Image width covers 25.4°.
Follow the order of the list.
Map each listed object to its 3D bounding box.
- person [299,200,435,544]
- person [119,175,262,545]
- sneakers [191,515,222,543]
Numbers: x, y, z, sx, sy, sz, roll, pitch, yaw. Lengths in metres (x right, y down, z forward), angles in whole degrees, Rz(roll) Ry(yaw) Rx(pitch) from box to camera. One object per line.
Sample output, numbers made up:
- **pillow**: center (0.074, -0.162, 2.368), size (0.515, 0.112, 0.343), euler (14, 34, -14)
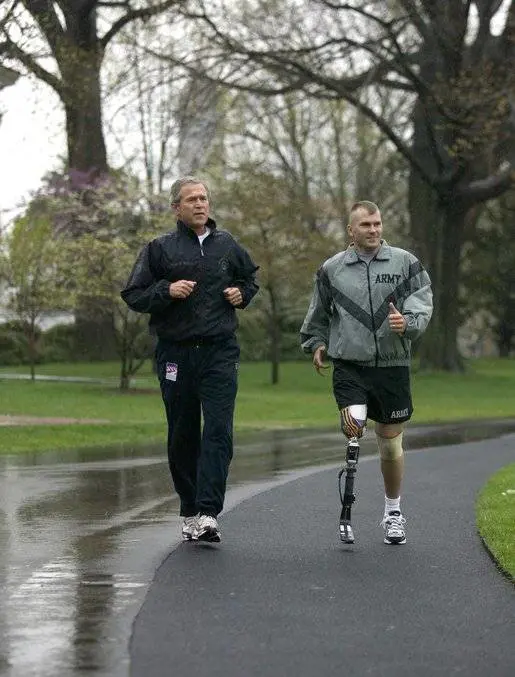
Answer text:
- **person**: center (0.565, 0.163, 6.195), size (0.716, 1.811, 0.500), euler (2, 0, 14)
- **person**: center (-0.384, 0.097, 6.258), size (0.659, 1.845, 0.607), euler (2, 0, 13)
- **sneakers**: center (-0.261, 0.992, 6.015), size (0.088, 0.109, 0.220), euler (2, -18, -8)
